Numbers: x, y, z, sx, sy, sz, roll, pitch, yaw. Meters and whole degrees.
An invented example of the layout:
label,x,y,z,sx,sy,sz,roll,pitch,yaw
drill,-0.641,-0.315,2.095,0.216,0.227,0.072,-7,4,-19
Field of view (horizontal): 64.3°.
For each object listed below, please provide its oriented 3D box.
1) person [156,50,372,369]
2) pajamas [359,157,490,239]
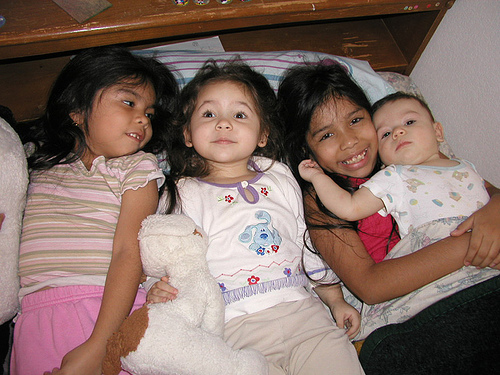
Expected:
label,x,y,z,sx,sy,sz,roll,pitch,yaw
person,-0.052,0.124,1.691,0.706,0.402,1.169,-5,65,-22
pajamas,0.642,0.016,1.445,0.322,0.121,0.313,-28,54,-4
